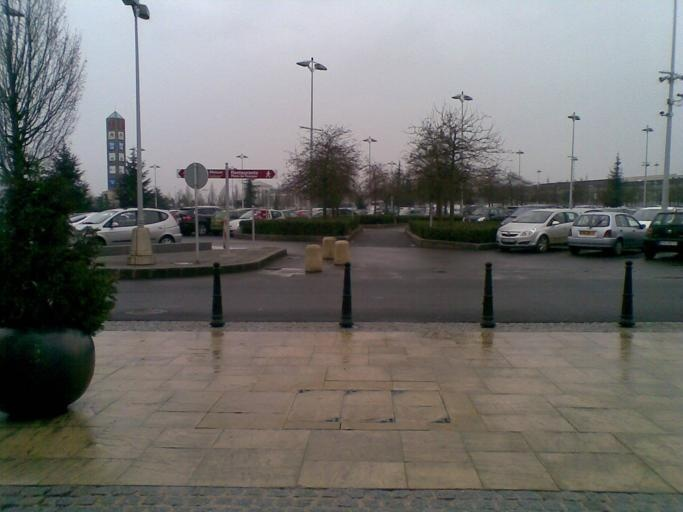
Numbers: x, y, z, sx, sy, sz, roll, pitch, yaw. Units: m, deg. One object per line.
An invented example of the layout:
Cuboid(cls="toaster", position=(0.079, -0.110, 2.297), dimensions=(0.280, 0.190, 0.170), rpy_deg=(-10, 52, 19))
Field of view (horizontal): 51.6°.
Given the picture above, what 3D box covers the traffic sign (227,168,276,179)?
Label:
Cuboid(cls="traffic sign", position=(-2.858, -2.581, 22.315), dimensions=(1.674, 0.254, 0.861), rpy_deg=(-3, 7, -27))
